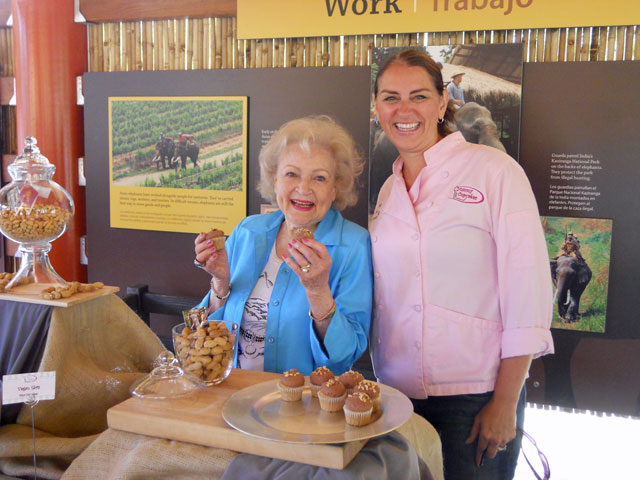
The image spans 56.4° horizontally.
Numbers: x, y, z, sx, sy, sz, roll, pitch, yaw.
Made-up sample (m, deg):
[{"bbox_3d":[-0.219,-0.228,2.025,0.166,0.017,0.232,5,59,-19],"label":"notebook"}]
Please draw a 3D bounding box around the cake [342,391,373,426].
[{"bbox_3d":[0.144,0.634,2.266,0.105,0.095,0.107,0,-4,-3],"label":"cake"}]

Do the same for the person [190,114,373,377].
[{"bbox_3d":[-0.134,0.104,2.956,0.658,1.465,0.767,5,12,18],"label":"person"}]

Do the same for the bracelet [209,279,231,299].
[{"bbox_3d":[-0.496,0.230,2.943,0.078,0.105,0.028,-2,2,8],"label":"bracelet"}]

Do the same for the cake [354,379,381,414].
[{"bbox_3d":[0.184,0.603,2.336,0.090,0.081,0.091,1,-4,-10],"label":"cake"}]

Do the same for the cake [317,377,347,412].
[{"bbox_3d":[0.047,0.598,2.359,0.108,0.106,0.112,3,8,17],"label":"cake"}]

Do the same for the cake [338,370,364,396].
[{"bbox_3d":[0.127,0.576,2.415,0.074,0.067,0.076,-1,-5,-4],"label":"cake"}]

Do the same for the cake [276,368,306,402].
[{"bbox_3d":[-0.115,0.575,2.368,0.094,0.107,0.109,1,-2,-3],"label":"cake"}]

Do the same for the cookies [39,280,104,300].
[{"bbox_3d":[-1.242,0.228,2.980,0.303,0.056,0.253,-9,15,-43],"label":"cookies"}]

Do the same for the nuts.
[{"bbox_3d":[-0.477,0.466,2.490,0.247,0.264,0.094,-1,10,-12],"label":"nuts"}]

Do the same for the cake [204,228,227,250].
[{"bbox_3d":[-0.503,-0.007,2.862,0.089,0.086,0.090,3,16,13],"label":"cake"}]

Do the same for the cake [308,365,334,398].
[{"bbox_3d":[0.006,0.566,2.409,0.089,0.091,0.093,2,8,14],"label":"cake"}]

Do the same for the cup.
[{"bbox_3d":[-0.465,0.427,2.549,0.256,0.288,0.211,5,8,40],"label":"cup"}]
